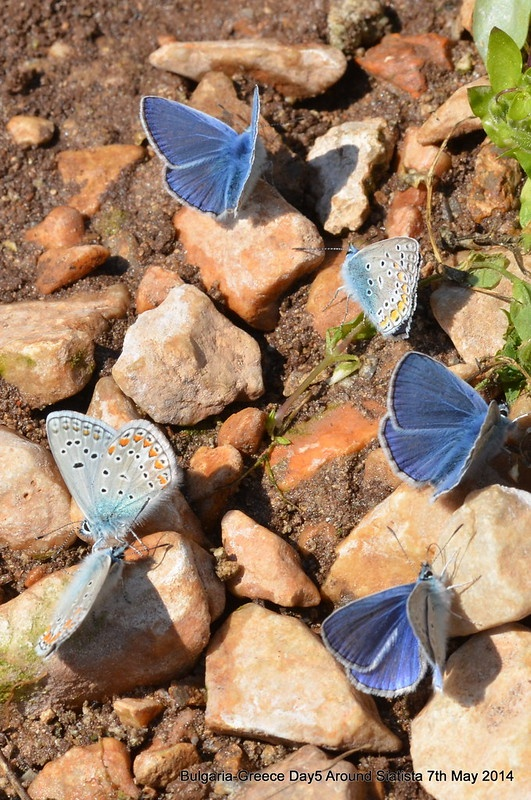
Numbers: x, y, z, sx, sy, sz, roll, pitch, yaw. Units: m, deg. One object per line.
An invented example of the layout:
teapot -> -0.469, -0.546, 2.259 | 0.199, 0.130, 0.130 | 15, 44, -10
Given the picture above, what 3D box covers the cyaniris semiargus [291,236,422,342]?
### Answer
cyaniris semiargus -> 0.605, -0.608, 4.451 | 0.560, 0.337, 0.483 | -13, 76, 12
